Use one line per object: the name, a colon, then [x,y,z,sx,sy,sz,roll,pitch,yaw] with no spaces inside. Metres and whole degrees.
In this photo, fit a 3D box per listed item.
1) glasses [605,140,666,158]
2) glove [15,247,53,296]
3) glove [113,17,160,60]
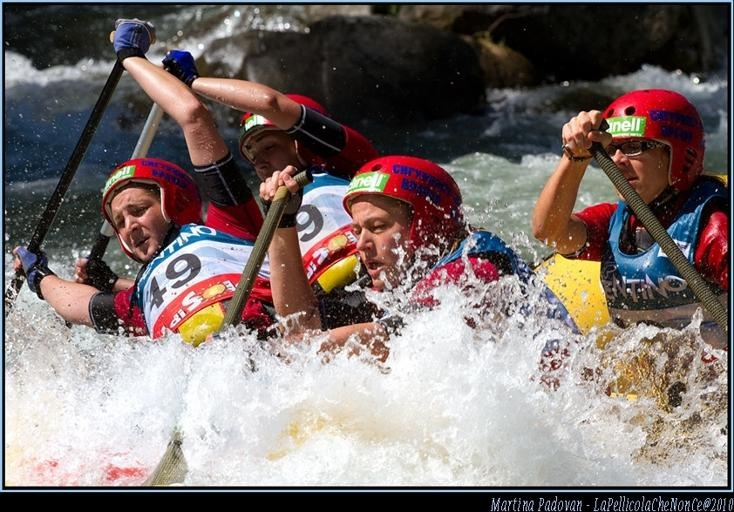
glasses: [2.097,-0.816,6.974,0.452,0.131,0.072,3,47,5]
glove: [-3.048,0.157,8.230,0.127,0.174,0.397,-60,31,7]
glove: [-2.078,-1.934,7.935,0.421,0.387,0.356,-5,29,-22]
